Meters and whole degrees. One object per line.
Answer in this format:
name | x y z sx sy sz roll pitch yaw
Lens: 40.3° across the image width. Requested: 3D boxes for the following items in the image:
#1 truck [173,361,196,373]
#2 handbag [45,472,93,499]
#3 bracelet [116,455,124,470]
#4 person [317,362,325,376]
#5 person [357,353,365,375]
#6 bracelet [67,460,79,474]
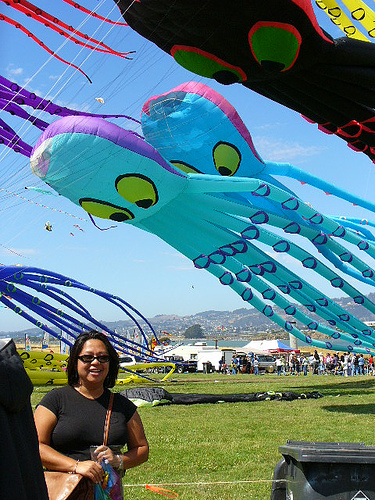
truck | -0.288 9.803 42.515 1.379 0.746 1.995 -3 -7 18
handbag | -0.691 1.371 2.975 0.198 0.058 0.188 -1 -9 39
bracelet | -0.411 1.344 3.214 0.032 0.088 0.107 4 -10 -19
person | 9.216 8.114 34.835 0.370 0.798 1.317 -3 -7 15
person | 11.029 7.277 32.301 0.415 1.358 1.851 -3 -7 19
bracelet | -0.667 1.281 3.001 0.015 0.059 0.060 45 -42 4
